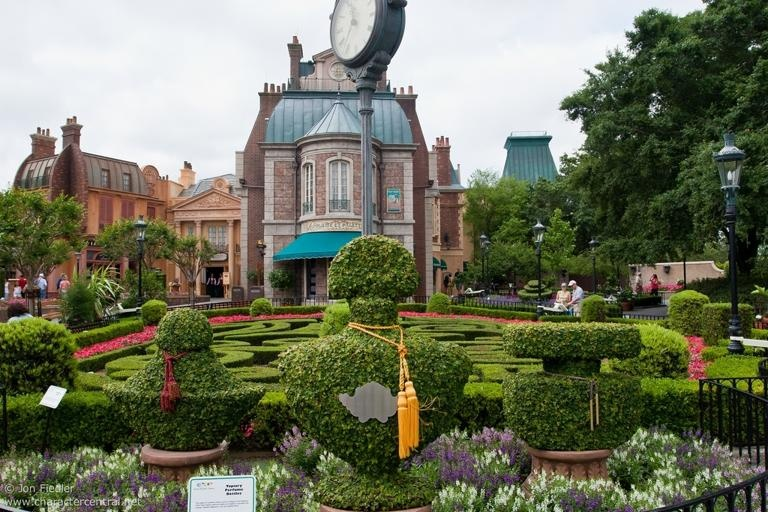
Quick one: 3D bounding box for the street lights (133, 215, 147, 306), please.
[{"bbox_3d":[-9.901,0.372,40.552,0.684,3.861,0.682,0,4,-20],"label":"street lights"}]
